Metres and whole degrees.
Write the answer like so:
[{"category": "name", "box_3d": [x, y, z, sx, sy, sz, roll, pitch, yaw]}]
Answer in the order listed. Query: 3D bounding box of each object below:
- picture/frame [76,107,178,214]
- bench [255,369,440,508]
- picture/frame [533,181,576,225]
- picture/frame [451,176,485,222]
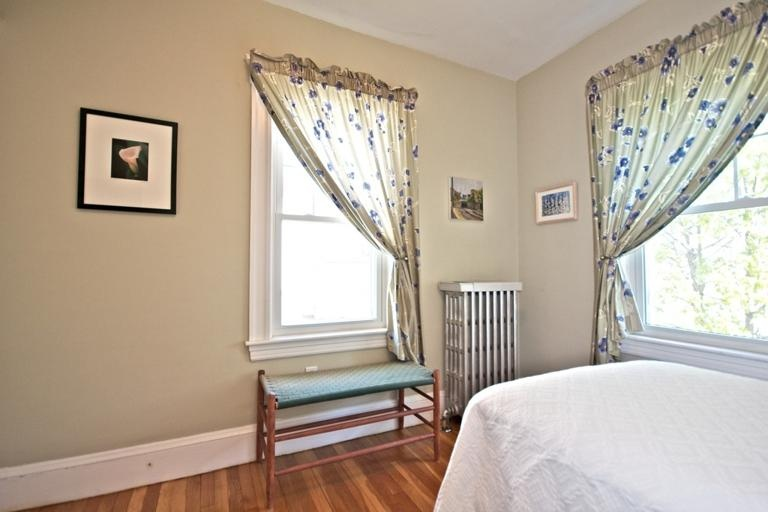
[{"category": "picture/frame", "box_3d": [-1.811, -0.666, 3.485, 0.716, 0.862, 0.034, 3, -4, -26]}, {"category": "bench", "box_3d": [-0.268, 1.239, 3.727, 1.286, 0.865, 0.548, -2, -1, -21]}, {"category": "picture/frame", "box_3d": [1.521, -0.470, 4.402, 0.032, 0.339, 0.400, -4, 3, -33]}, {"category": "picture/frame", "box_3d": [0.745, -0.520, 4.515, 0.386, 0.374, 0.021, -3, 3, -30]}]
